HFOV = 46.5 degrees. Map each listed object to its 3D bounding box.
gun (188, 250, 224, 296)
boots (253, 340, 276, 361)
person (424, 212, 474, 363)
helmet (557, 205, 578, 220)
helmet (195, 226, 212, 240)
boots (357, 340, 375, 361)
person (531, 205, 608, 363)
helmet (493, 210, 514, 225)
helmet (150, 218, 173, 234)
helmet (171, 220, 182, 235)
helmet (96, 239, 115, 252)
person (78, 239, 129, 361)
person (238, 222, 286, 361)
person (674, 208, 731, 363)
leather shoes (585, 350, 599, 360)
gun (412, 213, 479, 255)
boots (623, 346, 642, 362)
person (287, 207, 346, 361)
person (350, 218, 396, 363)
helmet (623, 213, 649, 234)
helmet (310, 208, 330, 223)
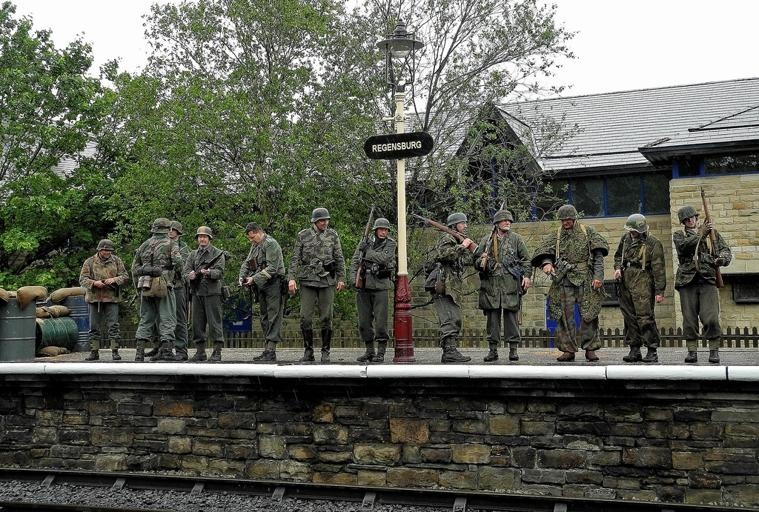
[{"bbox_3d":[-3.679,0.342,18.747,0.798,0.957,0.551,-3,-14,17],"label":"gun"},{"bbox_3d":[-2.324,1.986,18.258,0.637,0.479,0.251,3,-6,-5],"label":"boots"},{"bbox_3d":[1.448,0.575,17.733,0.858,3.053,0.797,4,-9,-41],"label":"person"},{"bbox_3d":[3.780,-0.900,17.605,0.327,0.275,0.352,1,7,31],"label":"helmet"},{"bbox_3d":[-3.798,-0.560,19.042,0.357,0.249,0.404,1,3,-4],"label":"helmet"},{"bbox_3d":[-0.295,1.999,18.332,0.482,0.467,0.233,10,-12,-31],"label":"boots"},{"bbox_3d":[3.860,0.477,17.380,1.324,3.143,0.518,-3,-7,9],"label":"person"},{"bbox_3d":[2.511,-0.833,17.896,0.314,0.203,0.323,-6,-4,32],"label":"helmet"},{"bbox_3d":[-4.688,-0.694,19.065,0.310,0.210,0.394,1,6,4],"label":"helmet"},{"bbox_3d":[-4.560,-0.671,19.785,0.244,0.261,0.316,17,8,-11],"label":"helmet"},{"bbox_3d":[-6.225,-0.279,19.886,0.478,0.275,0.402,8,6,44],"label":"helmet"},{"bbox_3d":[-6.181,0.908,19.684,0.970,2.707,1.206,0,-7,-21],"label":"person"},{"bbox_3d":[-2.446,0.682,18.509,0.864,2.983,0.858,-4,-7,19],"label":"person"},{"bbox_3d":[6.215,0.475,16.912,0.957,3.053,0.695,-4,-7,12],"label":"person"},{"bbox_3d":[4.190,1.964,17.294,0.131,0.210,0.393,0,-15,-9],"label":"leather shoes"},{"bbox_3d":[1.689,-0.595,22.558,0.494,0.152,2.288,-36,42,-23],"label":"gun"},{"bbox_3d":[4.913,1.888,17.077,0.525,0.376,0.203,0,-7,-9],"label":"boots"},{"bbox_3d":[-1.309,0.518,18.277,1.169,3.240,0.709,-1,-7,-7],"label":"person"},{"bbox_3d":[-0.120,0.640,18.263,0.913,3.034,0.742,-6,-8,32],"label":"person"},{"bbox_3d":[5.074,-0.640,17.331,0.386,0.405,0.494,-3,23,4],"label":"helmet"},{"bbox_3d":[-1.276,-0.861,18.394,0.340,0.220,0.314,-8,-2,26],"label":"helmet"}]
